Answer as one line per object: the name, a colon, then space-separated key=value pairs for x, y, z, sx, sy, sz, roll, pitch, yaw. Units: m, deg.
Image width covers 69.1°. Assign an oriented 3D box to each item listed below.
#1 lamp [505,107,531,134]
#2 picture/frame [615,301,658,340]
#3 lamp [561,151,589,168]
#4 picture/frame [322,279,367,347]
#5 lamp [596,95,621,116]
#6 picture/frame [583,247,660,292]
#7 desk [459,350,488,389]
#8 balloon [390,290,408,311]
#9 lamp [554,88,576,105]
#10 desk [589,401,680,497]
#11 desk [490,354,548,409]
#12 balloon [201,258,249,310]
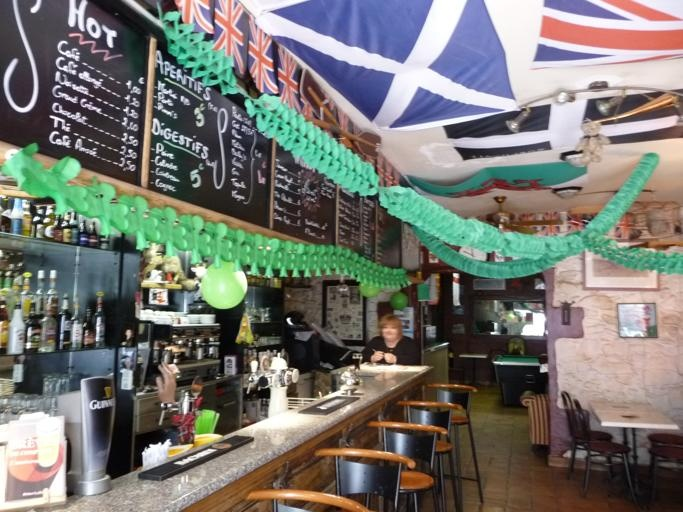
lamp: x=1.295 y=-0.997 z=3.619 sx=0.092 sy=0.078 sz=0.115 roll=29 pitch=-21 yaw=-2
picture/frame: x=3.777 y=0.823 z=6.289 sx=0.640 sy=0.514 sz=0.048 roll=1 pitch=-6 yaw=7
lamp: x=2.018 y=-0.800 z=4.259 sx=0.235 sy=0.071 sz=0.201 roll=1 pitch=-1 yaw=-18
picture/frame: x=0.093 y=0.954 z=8.372 sx=0.866 sy=1.047 sz=0.095 roll=-5 pitch=-11 yaw=32
lamp: x=1.838 y=-1.034 z=3.400 sx=0.142 sy=0.078 sz=0.074 roll=-35 pitch=-29 yaw=-13
picture/frame: x=3.136 y=0.172 z=5.487 sx=0.741 sy=0.580 sz=0.028 roll=1 pitch=-3 yaw=17
desk: x=3.358 y=2.839 z=12.594 sx=0.927 sy=0.695 sz=0.813 roll=0 pitch=-4 yaw=4
balloon: x=0.841 y=0.650 z=7.235 sx=0.266 sy=0.254 sz=0.274 roll=9 pitch=14 yaw=43
lamp: x=1.491 y=-1.057 z=3.289 sx=0.138 sy=0.072 sz=0.136 roll=1 pitch=-6 yaw=17
desk: x=3.321 y=2.164 z=5.568 sx=0.601 sy=0.488 sz=1.159 roll=-2 pitch=-8 yaw=23
desk: x=3.626 y=2.503 z=9.968 sx=0.953 sy=0.933 sz=0.896 roll=1 pitch=-7 yaw=20
balloon: x=-0.738 y=0.210 z=3.075 sx=0.283 sy=0.251 sz=0.245 roll=-3 pitch=23 yaw=-7
